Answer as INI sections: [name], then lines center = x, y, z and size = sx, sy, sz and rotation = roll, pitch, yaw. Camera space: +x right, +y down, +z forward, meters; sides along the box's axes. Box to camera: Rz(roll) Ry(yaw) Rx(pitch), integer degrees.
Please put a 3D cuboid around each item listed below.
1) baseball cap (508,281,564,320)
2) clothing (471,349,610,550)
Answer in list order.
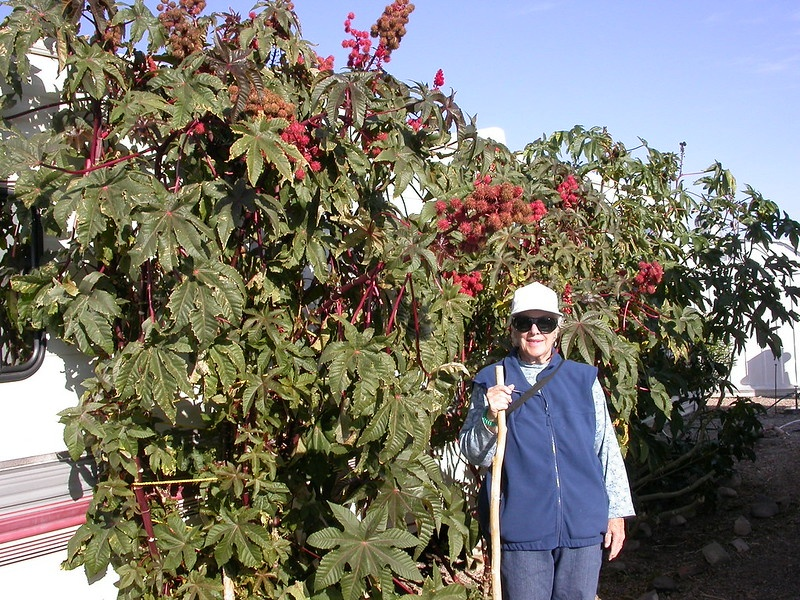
[baseball cap]
center = 0.717, 0.008, 3.192
size = 0.194, 0.120, 0.283
rotation = 2, 4, 8
[clothing]
center = 0.727, 0.746, 2.971
size = 0.580, 0.869, 0.275
rotation = -7, 4, -12
